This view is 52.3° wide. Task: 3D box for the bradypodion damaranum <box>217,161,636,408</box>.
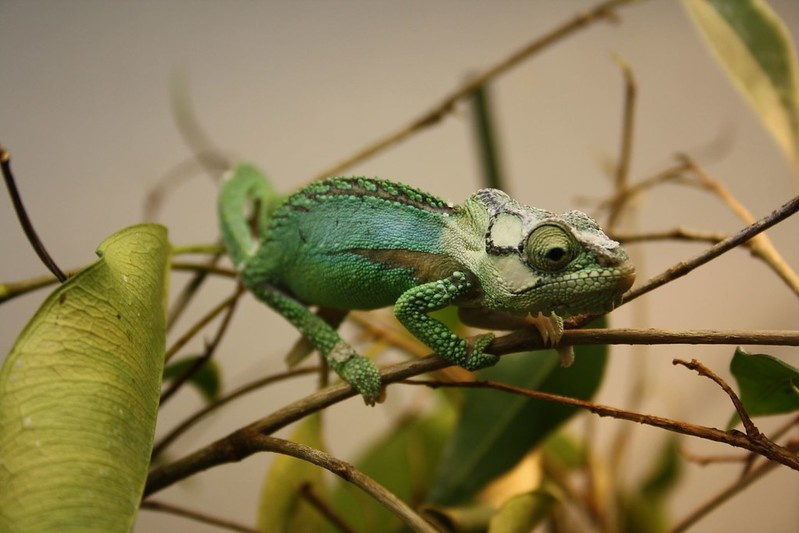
[{"bbox_3d":[-0.028,0.028,1.857,1.119,0.489,0.440,9,-75,23],"label":"bradypodion damaranum"}]
